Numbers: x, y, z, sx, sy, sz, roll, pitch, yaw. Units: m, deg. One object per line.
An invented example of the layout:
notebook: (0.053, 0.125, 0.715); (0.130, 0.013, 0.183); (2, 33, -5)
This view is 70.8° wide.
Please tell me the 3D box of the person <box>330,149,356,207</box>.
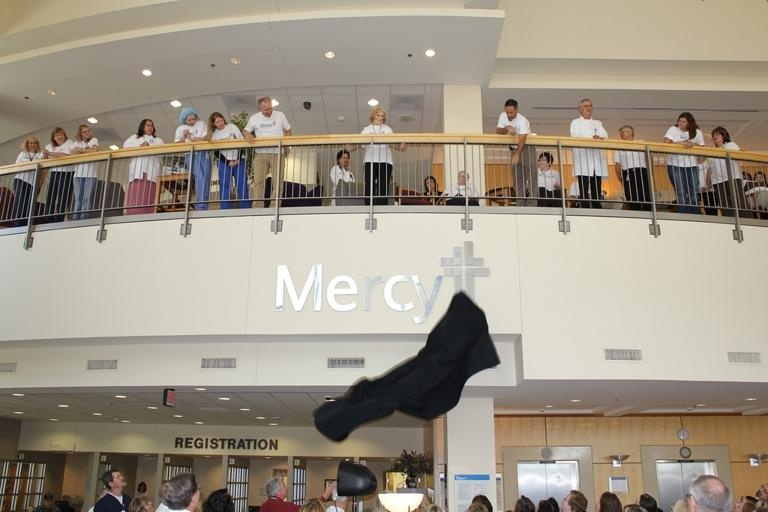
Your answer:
person: (-0.805, -1.432, 10.311); (0.515, 1.256, 1.072); (0, -18, -3)

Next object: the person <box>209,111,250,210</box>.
person: (-2.967, -1.853, 10.353); (0.851, 2.102, 1.011); (4, -19, -14)

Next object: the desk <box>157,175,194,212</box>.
desk: (-4.134, -1.236, 10.645); (0.654, 0.660, 0.666); (-5, -17, 10)

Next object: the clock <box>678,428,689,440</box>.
clock: (7.684, 4.530, 13.835); (0.314, 0.292, 0.079); (4, -19, -16)

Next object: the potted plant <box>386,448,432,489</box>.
potted plant: (0.733, 5.438, 13.891); (0.734, 0.767, 0.774); (-1, -2, 10)

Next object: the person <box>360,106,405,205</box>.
person: (-0.130, -1.860, 10.255); (0.821, 0.544, 1.899); (0, -47, -1)
